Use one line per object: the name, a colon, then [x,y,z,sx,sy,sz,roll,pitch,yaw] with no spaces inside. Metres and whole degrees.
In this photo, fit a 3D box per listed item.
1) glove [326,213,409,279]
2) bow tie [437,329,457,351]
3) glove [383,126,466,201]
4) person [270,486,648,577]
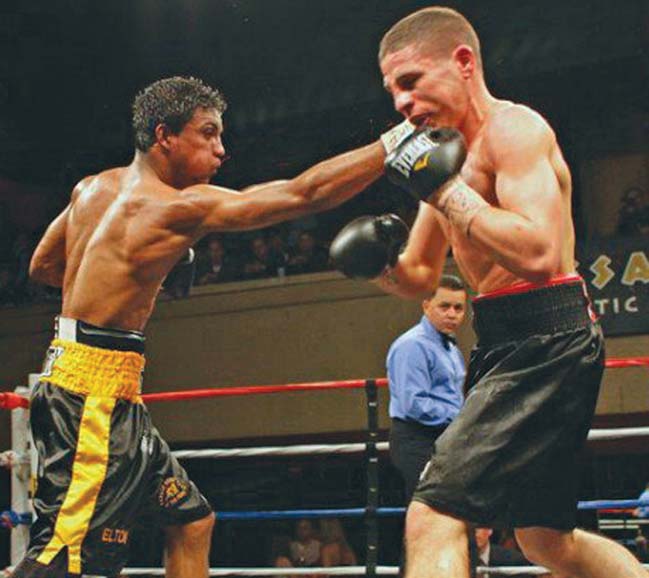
glove: [0.205,-0.188,5.984,0.358,0.267,0.174,-32,-8,-6]
bow tie: [0.663,0.273,7.064,0.091,0.071,0.122,37,-6,-33]
glove: [0.457,-0.550,5.467,0.354,0.272,0.162,-40,-25,-12]
person: [0.723,1.266,6.521,1.383,0.293,0.248,-3,-37,5]
